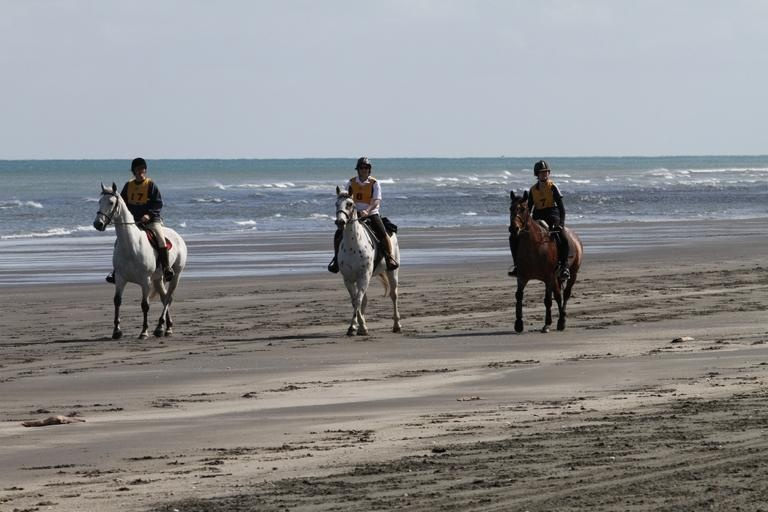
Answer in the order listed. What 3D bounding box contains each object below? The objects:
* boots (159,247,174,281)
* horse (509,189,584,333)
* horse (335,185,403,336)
[{"bbox_3d":[-4.351,0.190,22.872,0.174,0.662,0.391,-5,-4,2],"label":"boots"},{"bbox_3d":[3.210,0.032,22.627,1.325,2.668,2.435,-1,8,9],"label":"horse"},{"bbox_3d":[-0.302,0.007,22.895,1.211,2.904,2.555,-2,8,0],"label":"horse"}]
